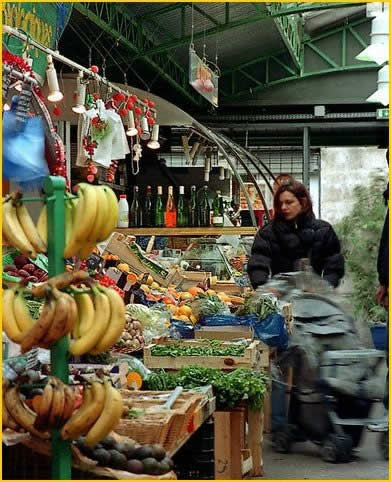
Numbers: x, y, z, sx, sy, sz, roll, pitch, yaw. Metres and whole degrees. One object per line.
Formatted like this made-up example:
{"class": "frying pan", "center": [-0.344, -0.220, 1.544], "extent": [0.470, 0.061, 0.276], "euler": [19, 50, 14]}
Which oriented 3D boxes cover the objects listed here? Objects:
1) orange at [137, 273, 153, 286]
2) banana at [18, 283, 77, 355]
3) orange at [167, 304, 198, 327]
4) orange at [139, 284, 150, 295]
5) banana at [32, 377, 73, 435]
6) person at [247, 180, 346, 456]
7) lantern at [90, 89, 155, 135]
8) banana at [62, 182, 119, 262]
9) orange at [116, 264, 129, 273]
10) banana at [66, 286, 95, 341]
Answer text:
{"class": "orange", "center": [-0.489, 0.372, 4.298], "extent": [0.141, 0.100, 0.102], "euler": [2, -6, -37]}
{"class": "banana", "center": [-0.315, 0.167, 0.923], "extent": [0.114, 0.133, 0.066], "euler": [2, -1, 24]}
{"class": "orange", "center": [-0.115, 0.576, 3.481], "extent": [0.189, 0.077, 0.194], "euler": [14, -3, 13]}
{"class": "orange", "center": [-0.415, 0.403, 3.667], "extent": [0.055, 0.070, 0.071], "euler": [-29, 15, 3]}
{"class": "banana", "center": [-0.333, 0.390, 1.026], "extent": [0.080, 0.132, 0.161], "euler": [3, -1, -23]}
{"class": "person", "center": [0.717, 0.462, 3.181], "extent": [0.729, 1.763, 0.775], "euler": [0, 1, 9]}
{"class": "lantern", "center": [-0.808, -1.465, 4.991], "extent": [0.739, 0.321, 0.914], "euler": [1, -2, -9]}
{"class": "banana", "center": [-0.265, -0.042, 1.093], "extent": [0.106, 0.199, 0.120], "euler": [-1, 6, 4]}
{"class": "orange", "center": [-0.675, 0.249, 4.138], "extent": [0.119, 0.082, 0.094], "euler": [14, -22, -40]}
{"class": "banana", "center": [-0.254, 0.163, 1.017], "extent": [0.056, 0.112, 0.062], "euler": [-2, 11, -7]}
